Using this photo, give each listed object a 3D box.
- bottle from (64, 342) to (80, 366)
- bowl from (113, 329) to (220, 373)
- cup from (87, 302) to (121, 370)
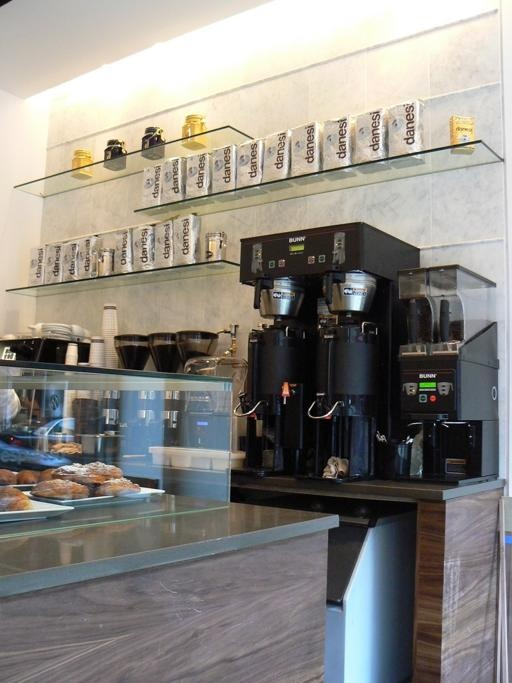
[{"bbox_3d":[-0.992,0.062,3.047,0.065,0.109,0.054,2,-6,-24],"label":"bottle"},{"bbox_3d":[-0.453,0.055,2.834,0.663,0.193,0.228,-5,-7,41],"label":"bowl"},{"bbox_3d":[-0.829,-0.038,3.111,0.154,0.353,0.312,1,-6,-15],"label":"cup"}]
